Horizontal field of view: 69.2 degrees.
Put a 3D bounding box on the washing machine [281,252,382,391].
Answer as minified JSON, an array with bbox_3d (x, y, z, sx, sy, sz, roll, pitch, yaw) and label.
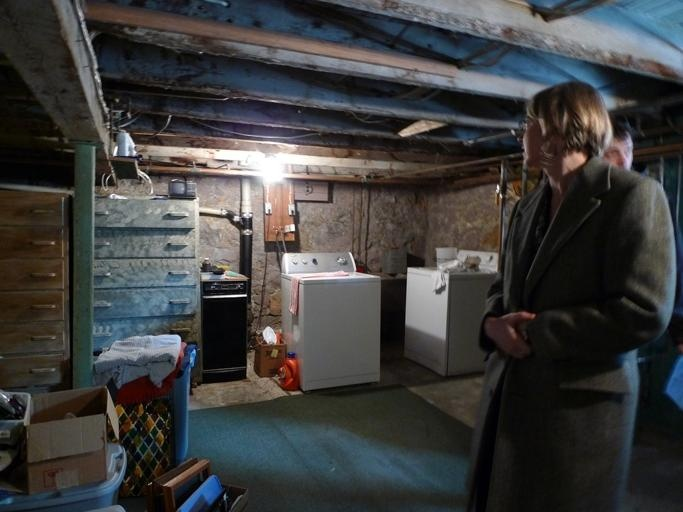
[{"bbox_3d":[-0.115,0.631,5.282,0.998,1.133,0.991,-1,4,-14],"label":"washing machine"}]

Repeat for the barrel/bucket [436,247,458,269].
[{"bbox_3d":[1.414,0.012,6.557,0.353,0.277,0.317,-3,-7,31],"label":"barrel/bucket"}]
